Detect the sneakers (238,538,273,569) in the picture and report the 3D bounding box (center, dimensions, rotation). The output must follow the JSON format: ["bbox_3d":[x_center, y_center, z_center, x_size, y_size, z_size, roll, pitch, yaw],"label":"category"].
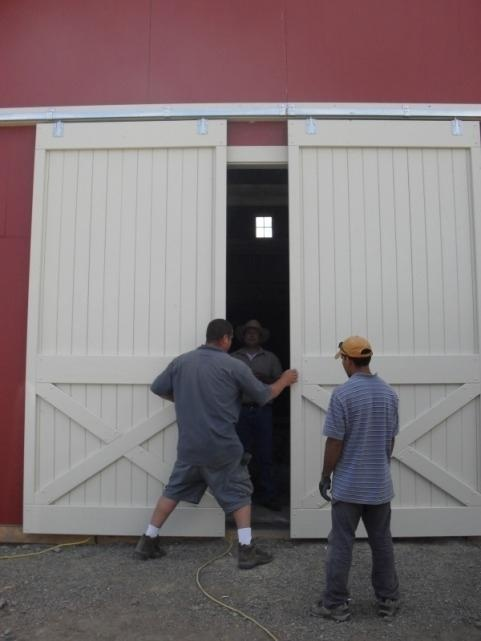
[{"bbox_3d":[0.071,1.397,4.176,0.097,0.167,0.257,-2,-2,41],"label":"sneakers"}]

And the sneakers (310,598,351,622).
[{"bbox_3d":[0.474,1.484,3.593,0.199,0.104,0.089,2,-6,20],"label":"sneakers"}]

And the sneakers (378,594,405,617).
[{"bbox_3d":[0.771,1.475,3.577,0.056,0.076,0.168,-2,-8,23],"label":"sneakers"}]

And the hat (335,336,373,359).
[{"bbox_3d":[0.606,0.142,3.669,0.115,0.091,0.155,0,0,-9],"label":"hat"}]

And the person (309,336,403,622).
[{"bbox_3d":[0.614,0.813,3.595,0.430,1.453,0.275,0,0,11],"label":"person"}]

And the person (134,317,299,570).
[{"bbox_3d":[-0.123,0.739,4.334,0.856,1.477,0.574,1,-8,10],"label":"person"}]

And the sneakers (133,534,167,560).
[{"bbox_3d":[-0.547,1.395,4.273,0.095,0.174,0.251,2,-7,29],"label":"sneakers"}]
